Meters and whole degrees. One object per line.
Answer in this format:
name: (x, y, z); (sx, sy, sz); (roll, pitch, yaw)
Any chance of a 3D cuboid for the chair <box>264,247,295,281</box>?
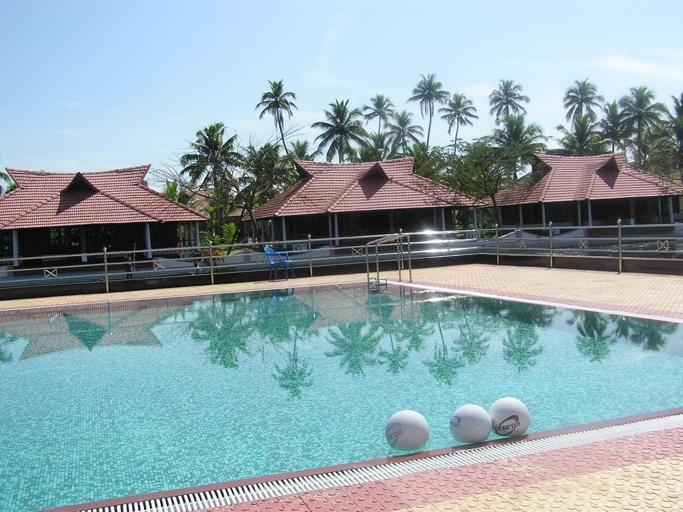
chair: (-2.118, 0.144, 17.365); (0.961, 1.121, 0.860); (-8, 24, -22)
